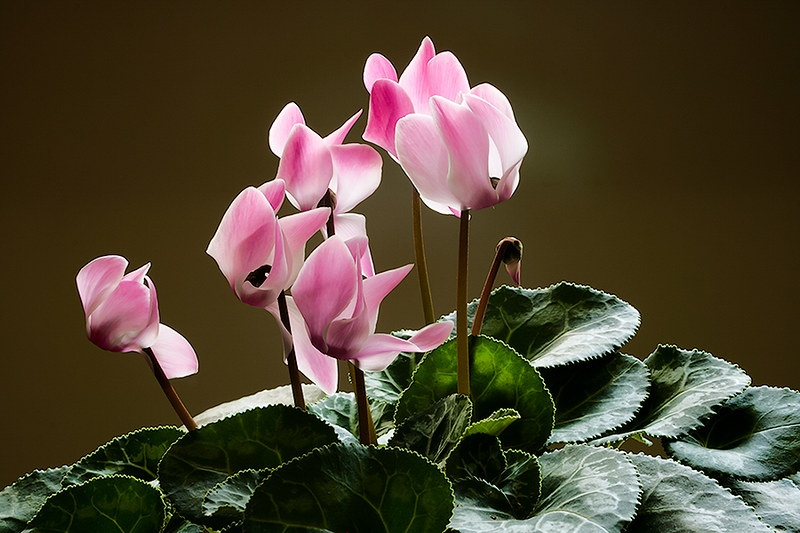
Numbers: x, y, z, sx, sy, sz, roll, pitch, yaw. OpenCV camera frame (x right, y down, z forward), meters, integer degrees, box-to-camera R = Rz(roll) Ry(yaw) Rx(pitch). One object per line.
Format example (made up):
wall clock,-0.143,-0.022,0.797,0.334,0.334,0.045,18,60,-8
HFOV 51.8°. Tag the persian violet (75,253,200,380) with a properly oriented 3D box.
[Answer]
persian violet,-0.437,0.080,1.368,0.186,0.208,0.116,-2,-18,-26
